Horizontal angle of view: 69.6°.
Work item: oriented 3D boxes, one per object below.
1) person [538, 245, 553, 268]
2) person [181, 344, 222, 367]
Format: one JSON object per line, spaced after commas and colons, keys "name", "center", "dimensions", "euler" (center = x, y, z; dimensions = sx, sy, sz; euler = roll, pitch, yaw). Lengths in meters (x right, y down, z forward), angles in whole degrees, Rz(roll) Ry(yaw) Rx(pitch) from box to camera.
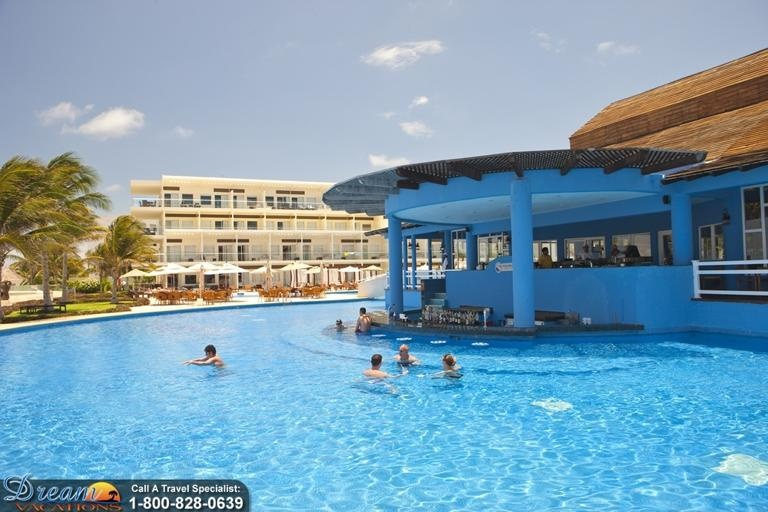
{"name": "person", "center": [6.198, 0.081, 21.367], "dimensions": [0.447, 0.743, 0.636], "euler": [1, 15, 12]}
{"name": "person", "center": [-5.312, 2.970, 16.476], "dimensions": [1.062, 0.542, 0.704], "euler": [-7, 4, -35]}
